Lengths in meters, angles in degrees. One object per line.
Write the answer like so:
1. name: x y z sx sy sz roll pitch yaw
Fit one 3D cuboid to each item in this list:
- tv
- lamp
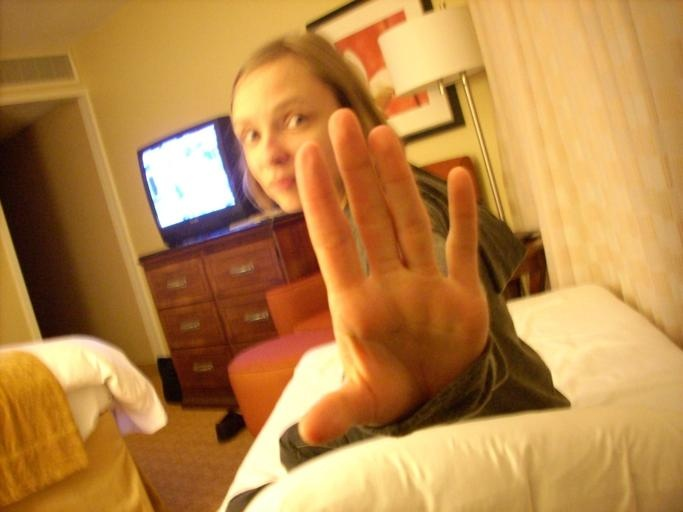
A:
1. tv: -0.389 -0.207 1.316 0.289 0.267 0.163 -18 7 30
2. lamp: 0.212 -0.411 1.103 0.178 0.117 0.184 -21 -1 -5
